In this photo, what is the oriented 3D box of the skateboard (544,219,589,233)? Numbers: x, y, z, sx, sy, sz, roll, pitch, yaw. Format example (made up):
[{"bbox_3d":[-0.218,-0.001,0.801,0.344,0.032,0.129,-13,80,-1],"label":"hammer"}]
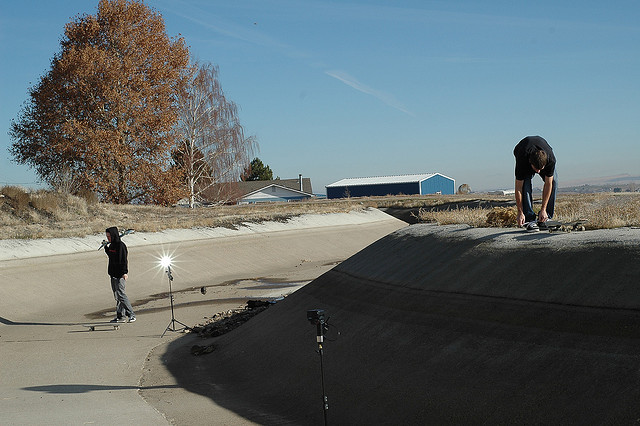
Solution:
[{"bbox_3d":[3.913,0.200,7.801,1.003,0.159,0.438,-4,5,-40],"label":"skateboard"}]

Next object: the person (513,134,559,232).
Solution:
[{"bbox_3d":[3.480,-0.474,7.996,0.653,1.490,0.757,0,4,10],"label":"person"}]

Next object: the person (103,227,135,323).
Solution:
[{"bbox_3d":[-4.691,1.442,11.560,0.579,2.162,0.563,-3,4,-37],"label":"person"}]

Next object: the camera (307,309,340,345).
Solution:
[{"bbox_3d":[0.102,1.470,6.747,0.459,0.570,0.259,1,1,14],"label":"camera"}]

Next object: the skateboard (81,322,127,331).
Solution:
[{"bbox_3d":[-4.865,2.563,11.179,0.956,0.183,0.317,0,-2,0],"label":"skateboard"}]

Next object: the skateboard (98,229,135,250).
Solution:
[{"bbox_3d":[-6.311,0.854,15.410,1.244,0.448,0.052,-46,-10,7],"label":"skateboard"}]
